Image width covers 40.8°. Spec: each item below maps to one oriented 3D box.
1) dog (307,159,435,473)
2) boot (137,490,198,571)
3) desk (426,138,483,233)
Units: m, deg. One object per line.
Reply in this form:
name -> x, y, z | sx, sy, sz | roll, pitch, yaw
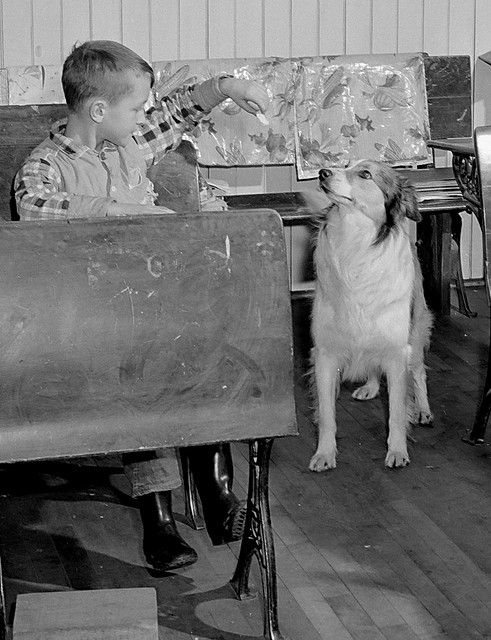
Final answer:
dog -> 0.465, -0.048, 2.414 | 0.437, 1.022, 0.697 | 2, 10, 16
boot -> -0.199, 0.493, 1.612 | 0.098, 0.219, 0.218 | 1, -5, -31
desk -> 0.995, -0.649, 3.180 | 0.315, 0.192, 0.781 | 3, 28, 14
